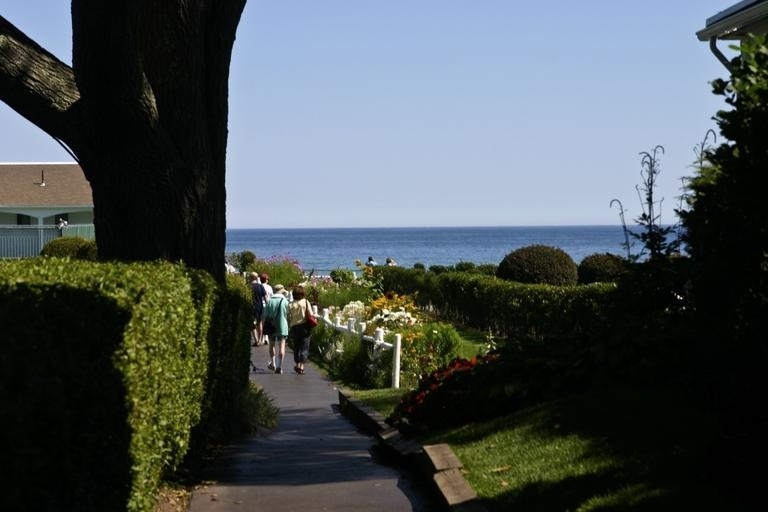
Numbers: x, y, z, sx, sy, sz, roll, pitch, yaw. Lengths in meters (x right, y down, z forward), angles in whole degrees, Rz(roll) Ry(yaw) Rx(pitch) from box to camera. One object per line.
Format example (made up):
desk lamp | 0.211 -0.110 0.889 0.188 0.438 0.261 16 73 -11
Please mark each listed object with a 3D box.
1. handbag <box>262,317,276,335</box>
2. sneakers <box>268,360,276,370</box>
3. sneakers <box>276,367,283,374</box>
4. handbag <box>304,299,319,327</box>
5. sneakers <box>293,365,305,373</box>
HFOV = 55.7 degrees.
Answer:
handbag | -2.526 1.583 16.215 0.215 0.376 0.193 -37 -51 28
sneakers | -2.526 2.509 16.594 0.130 0.216 0.300 -4 1 -13
sneakers | -2.321 2.611 16.418 0.136 0.161 0.088 0 2 6
handbag | -1.647 1.336 16.460 0.218 0.564 0.817 -3 1 -6
sneakers | -1.902 2.575 16.556 0.239 0.223 0.436 -4 1 -9
